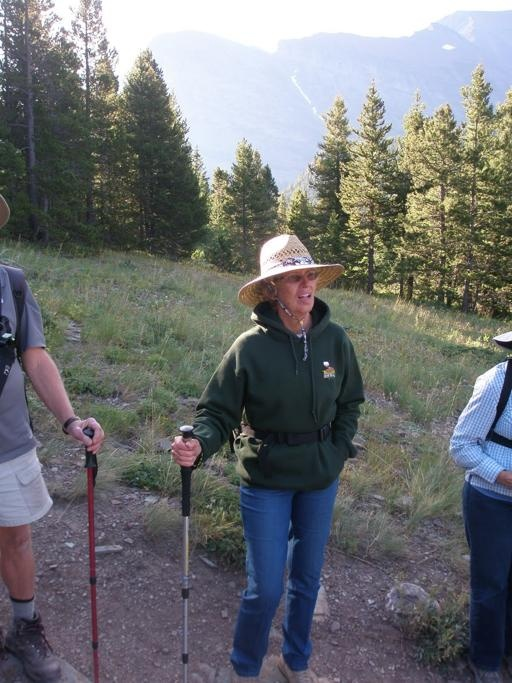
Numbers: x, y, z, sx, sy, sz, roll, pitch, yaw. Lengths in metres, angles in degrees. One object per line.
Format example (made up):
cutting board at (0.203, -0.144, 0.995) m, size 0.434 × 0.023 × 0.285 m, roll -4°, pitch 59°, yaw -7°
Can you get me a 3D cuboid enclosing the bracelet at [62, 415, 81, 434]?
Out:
bracelet at (-0.989, 0.451, 3.216) m, size 0.036 × 0.098 × 0.074 m, roll 28°, pitch 2°, yaw -10°
